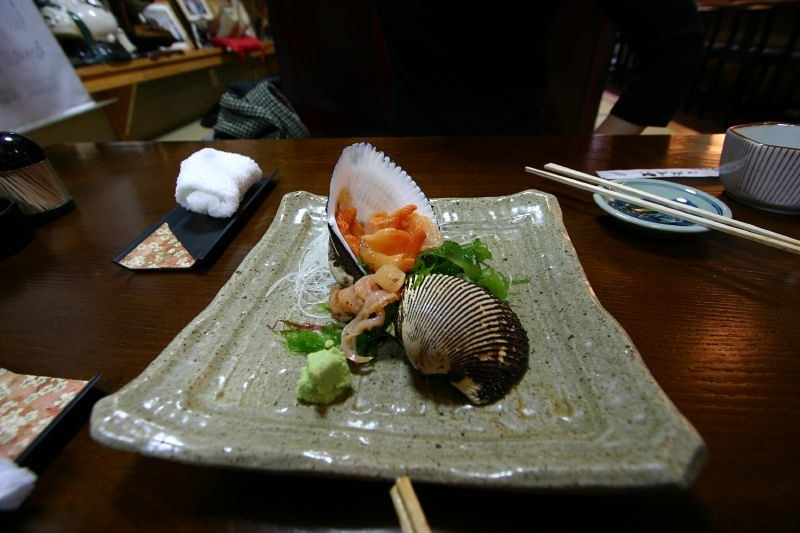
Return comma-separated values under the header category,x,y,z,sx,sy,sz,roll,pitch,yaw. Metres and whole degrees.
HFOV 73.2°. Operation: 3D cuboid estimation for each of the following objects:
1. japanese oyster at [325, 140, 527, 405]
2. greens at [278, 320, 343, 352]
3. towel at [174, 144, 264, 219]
category,x,y,z,sx,sy,sz,roll,pitch,yaw
japanese oyster,0.056,0.026,2.777,0.679,0.335,1.446,-29,79,-27
greens,-0.462,0.351,2.708,0.238,0.045,0.156,6,40,5
towel,-1.141,-0.486,3.348,0.484,0.217,0.452,10,38,0
